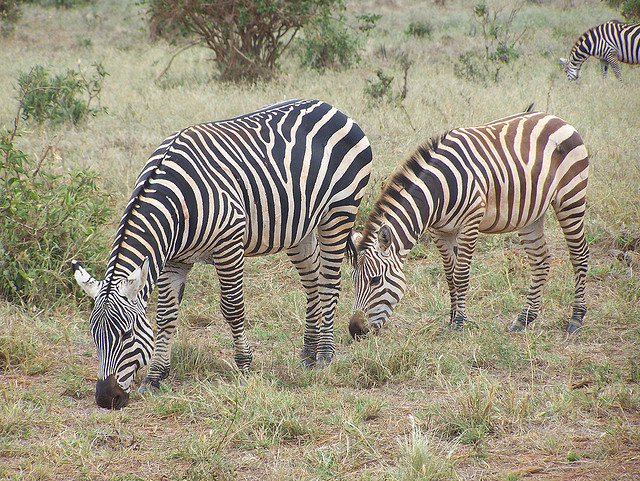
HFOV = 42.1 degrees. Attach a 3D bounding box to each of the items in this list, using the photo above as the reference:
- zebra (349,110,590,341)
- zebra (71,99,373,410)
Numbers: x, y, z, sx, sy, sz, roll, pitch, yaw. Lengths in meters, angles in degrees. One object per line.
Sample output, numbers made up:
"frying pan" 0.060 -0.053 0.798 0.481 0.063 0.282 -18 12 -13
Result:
"zebra" 1.706 -0.089 9.121 2.988 2.453 0.904 -7 9 -26
"zebra" -0.814 0.179 8.040 3.034 2.488 0.955 -18 26 -30
